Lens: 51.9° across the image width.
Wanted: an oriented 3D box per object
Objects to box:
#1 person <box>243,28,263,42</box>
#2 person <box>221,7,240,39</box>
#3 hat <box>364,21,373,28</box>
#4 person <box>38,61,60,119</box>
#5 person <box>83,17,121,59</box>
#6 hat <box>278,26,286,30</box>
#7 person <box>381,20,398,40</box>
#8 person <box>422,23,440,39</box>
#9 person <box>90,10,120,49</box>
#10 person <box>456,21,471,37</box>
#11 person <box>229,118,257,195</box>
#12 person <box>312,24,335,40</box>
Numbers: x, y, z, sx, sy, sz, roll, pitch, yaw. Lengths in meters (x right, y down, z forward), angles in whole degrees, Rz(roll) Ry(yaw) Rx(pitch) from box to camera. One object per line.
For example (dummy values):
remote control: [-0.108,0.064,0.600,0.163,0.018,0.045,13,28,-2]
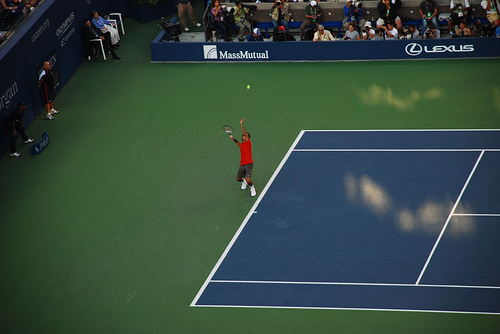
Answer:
person: [0.197,-7.202,27.813,0.901,0.969,0.565,8,9,-24]
person: [-1.323,-8.194,28.745,0.467,1.624,1.119,3,31,32]
hat: [6.461,-7.972,28.156,0.386,0.333,0.842,5,18,14]
person: [-9.600,-3.727,24.350,0.788,2.691,0.972,-6,17,-22]
person: [-8.273,-7.198,28.328,1.274,1.095,2.356,-4,-21,0]
hat: [1.704,-7.637,27.632,0.316,0.177,0.366,9,19,23]
person: [7.630,-7.549,27.670,0.789,0.923,0.873,13,21,36]
person: [9.754,-7.478,27.629,0.747,1.106,0.318,6,-13,1]
person: [-8.161,-7.790,28.620,1.329,0.878,2.537,8,-15,-1]
person: [11.164,-7.367,26.846,0.742,0.770,0.727,8,18,21]
person: [-0.203,-0.275,20.469,0.928,2.662,0.793,-1,16,-6]
person: [3.907,-7.381,27.630,1.226,0.777,0.908,9,18,23]
